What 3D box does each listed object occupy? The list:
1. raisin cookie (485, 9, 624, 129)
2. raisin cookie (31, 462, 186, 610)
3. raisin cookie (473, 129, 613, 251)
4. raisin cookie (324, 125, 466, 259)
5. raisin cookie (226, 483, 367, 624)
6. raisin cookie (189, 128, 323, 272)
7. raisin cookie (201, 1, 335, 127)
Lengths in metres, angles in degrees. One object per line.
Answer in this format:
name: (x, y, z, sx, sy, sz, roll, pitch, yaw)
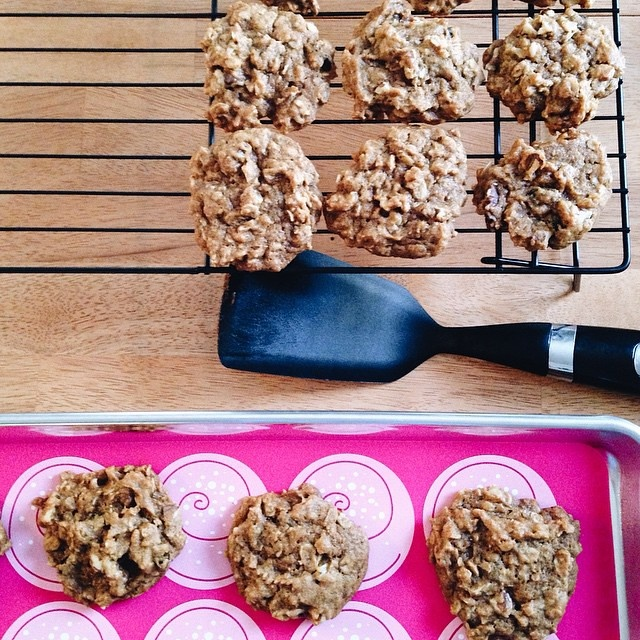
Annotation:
raisin cookie: (0.360, -0.356, 1.196, 0.241, 0.172, 0.069, -9, 6, 4)
raisin cookie: (-0.341, 0.329, 1.282, 0.322, 0.206, 0.088, -8, -9, -4)
raisin cookie: (0.340, -0.194, 1.197, 0.157, 0.168, 0.132, 18, 35, 25)
raisin cookie: (0.117, -0.184, 1.224, 0.247, 0.178, 0.072, 0, 1, 0)
raisin cookie: (-0.045, 0.372, 1.326, 0.273, 0.190, 0.074, -4, -7, -5)
raisin cookie: (-0.100, -0.174, 1.210, 0.261, 0.187, 0.076, -1, 4, -2)
raisin cookie: (-0.080, -0.374, 1.199, 0.242, 0.181, 0.072, -4, 8, -8)
